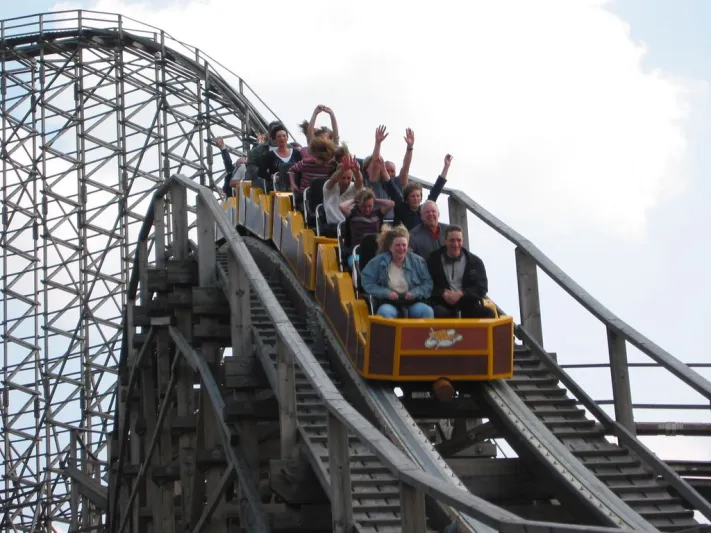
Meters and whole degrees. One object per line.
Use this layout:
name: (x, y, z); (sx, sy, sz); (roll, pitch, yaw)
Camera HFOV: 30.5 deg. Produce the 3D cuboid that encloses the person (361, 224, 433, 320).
person: (0.468, 0.153, 13.708); (0.760, 0.813, 1.159); (-5, -79, -20)
